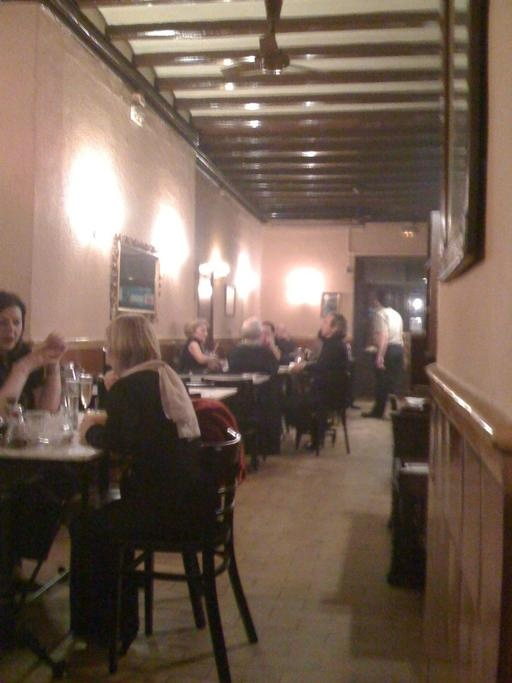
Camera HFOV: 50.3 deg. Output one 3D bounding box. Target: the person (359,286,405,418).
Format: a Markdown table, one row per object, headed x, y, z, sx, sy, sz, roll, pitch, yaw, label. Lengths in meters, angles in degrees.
| x | y | z | sx | sy | sz | roll | pitch | yaw | label |
| --- | --- | --- | --- | --- | --- | --- | --- | --- | --- |
| 1.692 | 0.199 | 7.202 | 0.441 | 1.714 | 0.585 | 1 | 3 | 13 | person |

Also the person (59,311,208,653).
| x | y | z | sx | sy | sz | roll | pitch | yaw | label |
| --- | --- | --- | --- | --- | --- | --- | --- | --- | --- |
| -0.409 | 0.466 | 1.864 | 0.579 | 1.105 | 0.408 | 2 | 3 | 39 | person |

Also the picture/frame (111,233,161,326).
| x | y | z | sx | sy | sz | roll | pitch | yaw | label |
| --- | --- | --- | --- | --- | --- | --- | --- | --- | --- |
| -1.055 | -0.530 | 4.731 | 0.617 | 0.571 | 0.035 | 7 | 5 | 36 | picture/frame |

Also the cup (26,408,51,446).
| x | y | z | sx | sy | sz | roll | pitch | yaw | label |
| --- | --- | --- | --- | --- | --- | --- | --- | --- | --- |
| -0.770 | 0.297 | 1.906 | 0.077 | 0.177 | 0.094 | -2 | -1 | -7 | cup |

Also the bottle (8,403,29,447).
| x | y | z | sx | sy | sz | roll | pitch | yaw | label |
| --- | --- | --- | --- | --- | --- | --- | --- | --- | --- |
| -0.821 | 0.287 | 1.856 | 0.064 | 0.125 | 0.124 | -1 | 3 | -27 | bottle |
